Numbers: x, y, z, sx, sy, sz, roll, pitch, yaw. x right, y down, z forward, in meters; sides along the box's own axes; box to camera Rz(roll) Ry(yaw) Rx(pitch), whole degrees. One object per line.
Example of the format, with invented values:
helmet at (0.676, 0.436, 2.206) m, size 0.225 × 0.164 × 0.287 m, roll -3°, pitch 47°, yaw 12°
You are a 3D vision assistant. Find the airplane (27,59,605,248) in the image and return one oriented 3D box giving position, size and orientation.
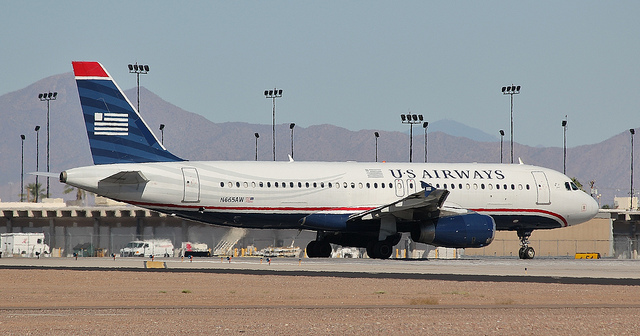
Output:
airplane at (4.111, -0.534, 124.466) m, size 60.885 × 14.464 × 47.142 m, roll 1°, pitch 13°, yaw -30°

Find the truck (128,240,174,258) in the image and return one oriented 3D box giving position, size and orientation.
truck at (-17.934, 8.906, 137.020) m, size 3.654 × 1.360 × 2.273 m, roll 2°, pitch -4°, yaw -13°
